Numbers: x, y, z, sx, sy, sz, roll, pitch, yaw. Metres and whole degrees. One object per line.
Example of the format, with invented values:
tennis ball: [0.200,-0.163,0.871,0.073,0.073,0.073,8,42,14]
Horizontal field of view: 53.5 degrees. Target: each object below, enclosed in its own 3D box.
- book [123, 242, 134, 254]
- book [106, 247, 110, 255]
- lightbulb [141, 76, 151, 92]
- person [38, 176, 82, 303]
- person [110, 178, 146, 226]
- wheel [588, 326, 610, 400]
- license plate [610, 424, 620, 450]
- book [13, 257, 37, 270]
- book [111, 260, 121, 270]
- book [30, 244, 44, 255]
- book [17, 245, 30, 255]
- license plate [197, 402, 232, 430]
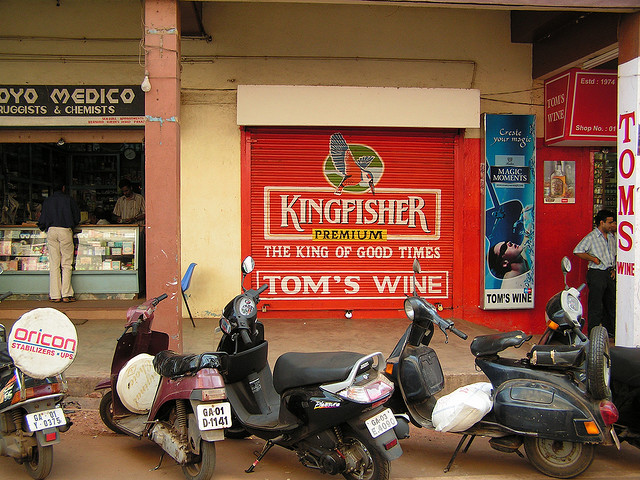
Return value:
book: [-3.341,0.155,11.072,0.179,0.234,0.031,0,-8,-6]
book: [-3.682,0.196,11.055,0.056,0.120,0.016,-1,2,-8]
lightbulb: [-2.259,-2.006,8.207,0.103,0.200,0.188,-2,2,-36]
person: [-4.458,0.104,10.910,0.642,1.927,0.304,-2,2,-17]
person: [-3.760,-0.605,12.448,0.712,1.168,0.665,1,6,14]
wheel: [2.640,1.172,6.059,0.141,0.537,0.506,4,-12,4]
license plate: [2.837,1.891,6.133,0.082,0.213,0.306,0,2,25]
book: [-5.061,0.414,11.014,0.346,0.206,0.072,-1,2,12]
book: [-3.531,0.447,11.061,0.159,0.170,0.123,0,-2,-6]
book: [-4.903,0.174,11.036,0.171,0.168,0.027,0,-10,-1]
book: [-5.134,0.169,11.059,0.231,0.195,0.136,0,13,2]
license plate: [-0.997,1.647,5.924,0.235,0.194,0.034,1,-8,-15]
